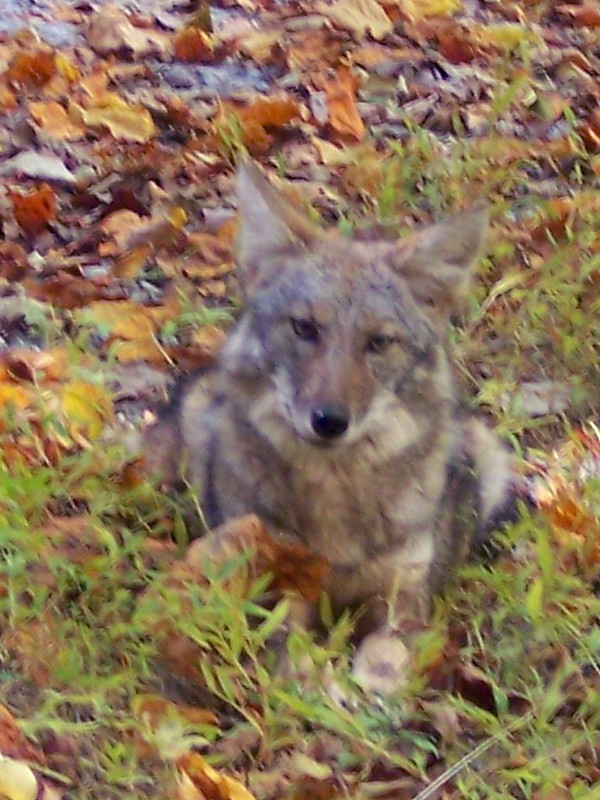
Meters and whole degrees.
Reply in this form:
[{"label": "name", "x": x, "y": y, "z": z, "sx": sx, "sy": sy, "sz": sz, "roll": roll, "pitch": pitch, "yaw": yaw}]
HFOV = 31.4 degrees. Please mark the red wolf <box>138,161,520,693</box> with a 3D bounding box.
[{"label": "red wolf", "x": 0.072, "y": 0.035, "z": 3.224, "sx": 1.342, "sy": 0.959, "sz": 1.203, "roll": -19, "pitch": 38, "yaw": -17}]
